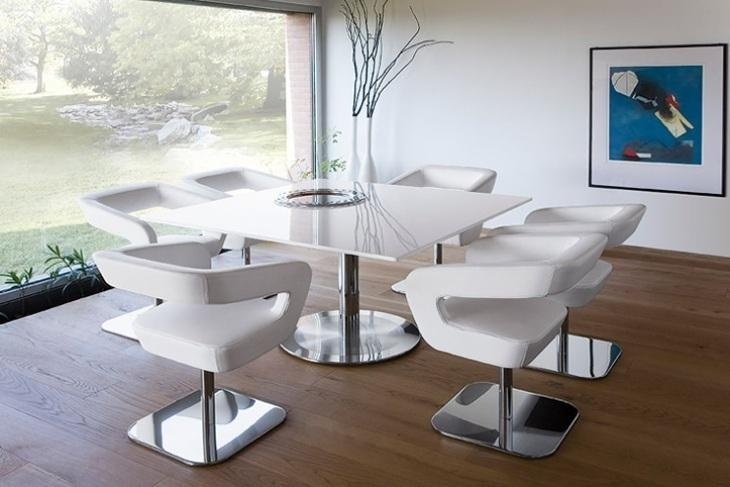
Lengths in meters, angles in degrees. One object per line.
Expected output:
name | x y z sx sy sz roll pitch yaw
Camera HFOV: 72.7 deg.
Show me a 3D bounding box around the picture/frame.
picture/frame | 2.950 -1.246 5.016 1.320 1.461 0.458 4 22 19
